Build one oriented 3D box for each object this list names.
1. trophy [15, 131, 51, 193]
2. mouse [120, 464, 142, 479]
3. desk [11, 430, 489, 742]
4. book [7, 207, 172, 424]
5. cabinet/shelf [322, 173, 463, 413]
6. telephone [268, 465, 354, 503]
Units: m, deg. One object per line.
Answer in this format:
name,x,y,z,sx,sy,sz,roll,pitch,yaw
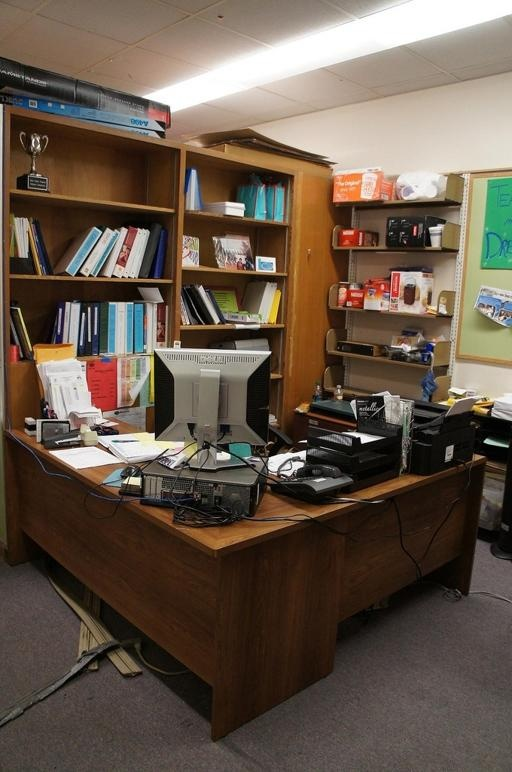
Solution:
trophy,-1.003,-1.005,2.559,0.109,0.247,0.123,15,16,41
mouse,-0.422,0.289,1.923,0.054,0.027,0.091,4,13,-1
desk,-0.027,0.598,2.563,1.610,0.660,1.464,-3,8,-44
book,-0.848,-0.369,2.916,0.804,1.101,0.266,-4,15,-44
cabinet/shelf,0.926,-0.636,3.932,0.823,1.446,0.255,12,16,38
telephone,0.165,0.281,1.906,0.250,0.101,0.268,13,11,40
